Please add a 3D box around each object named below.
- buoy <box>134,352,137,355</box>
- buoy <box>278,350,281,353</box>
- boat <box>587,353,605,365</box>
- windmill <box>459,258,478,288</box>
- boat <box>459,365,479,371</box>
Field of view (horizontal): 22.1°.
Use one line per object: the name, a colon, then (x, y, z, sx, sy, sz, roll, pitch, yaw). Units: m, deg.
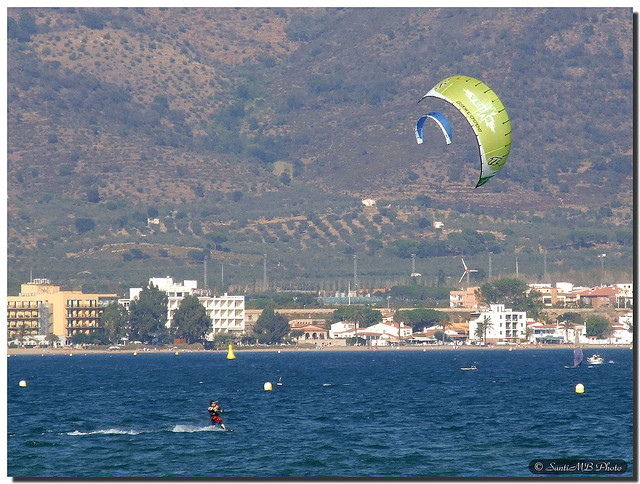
buoy: (-51.990, 31.016, 458.154, 0.638, 0.664, 0.628, 4, 7, 23)
buoy: (-11.776, 30.727, 462.718, 0.629, 1.075, 0.605, 4, 10, 0)
boat: (69.140, 29.486, 411.789, 2.921, 1.822, 3.886, 2, 2, 7)
windmill: (50.212, 10.736, 557.206, 8.425, 10.858, 2.322, 2, 2, 16)
boat: (36.346, 31.104, 405.597, 1.320, 1.089, 4.474, 3, -1, -31)
